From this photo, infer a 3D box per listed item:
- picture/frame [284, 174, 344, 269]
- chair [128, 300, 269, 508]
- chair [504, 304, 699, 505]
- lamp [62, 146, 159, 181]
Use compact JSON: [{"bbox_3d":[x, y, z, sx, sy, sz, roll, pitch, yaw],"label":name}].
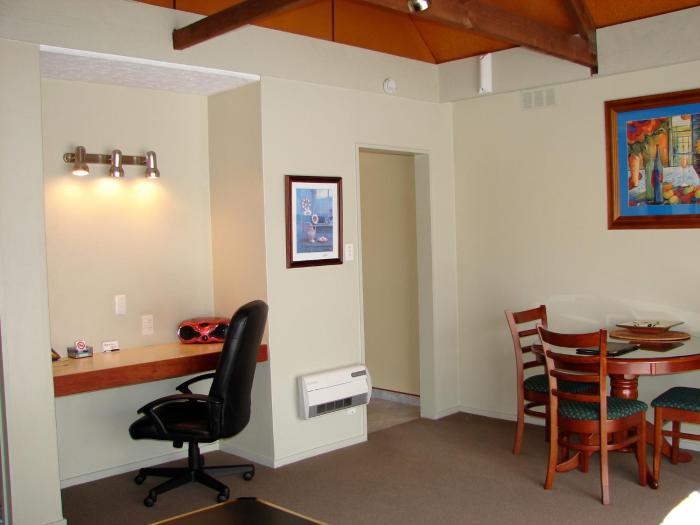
[{"bbox_3d":[-0.324,-0.353,4.515,0.801,1.032,0.082,-2,2,-41],"label":"picture/frame"},{"bbox_3d":[-1.106,1.017,3.991,0.967,1.317,0.850,1,-2,-12],"label":"chair"},{"bbox_3d":[1.866,0.955,4.214,1.240,1.194,1.318,2,5,44],"label":"chair"},{"bbox_3d":[-1.829,-0.790,4.219,0.678,0.231,0.190,1,16,-12],"label":"lamp"}]
